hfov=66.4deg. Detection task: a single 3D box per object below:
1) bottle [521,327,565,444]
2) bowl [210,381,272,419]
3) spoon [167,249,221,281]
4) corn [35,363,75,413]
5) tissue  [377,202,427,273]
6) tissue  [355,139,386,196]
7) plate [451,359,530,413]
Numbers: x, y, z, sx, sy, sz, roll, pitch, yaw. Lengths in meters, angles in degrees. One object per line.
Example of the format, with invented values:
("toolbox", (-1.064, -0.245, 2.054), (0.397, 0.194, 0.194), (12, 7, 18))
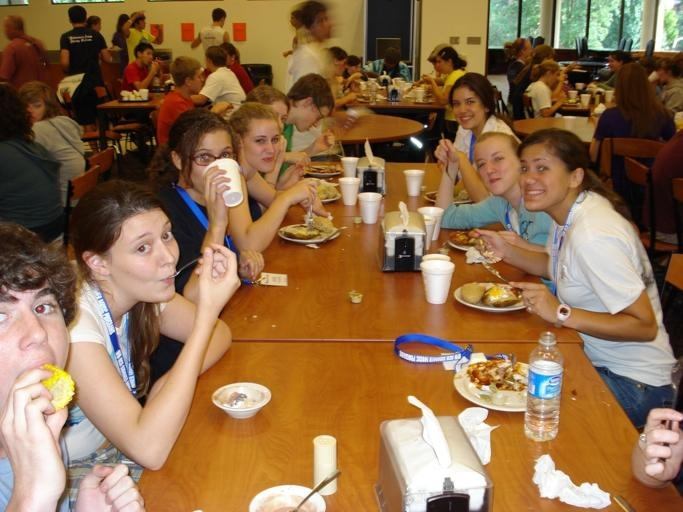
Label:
("bottle", (0.545, 0.321, 1.400), (0.088, 0.240, 0.247), (5, 20, 23))
("bowl", (-0.279, 0.401, 1.465), (0.144, 0.044, 0.168), (-19, 24, -40))
("spoon", (-0.512, 0.026, 1.806), (0.213, 0.042, 0.029), (-26, 42, 12))
("corn", (-0.567, 0.259, 1.037), (0.044, 0.079, 0.058), (6, 13, 16))
("tissue ", (0.266, -0.096, 2.331), (0.184, 0.304, 0.149), (-3, 17, -10))
("tissue ", (0.192, -0.582, 3.480), (0.160, 0.337, 0.247), (6, 21, 14))
("plate", (0.440, 0.358, 1.542), (0.203, 0.109, 0.165), (-5, 8, -16))
